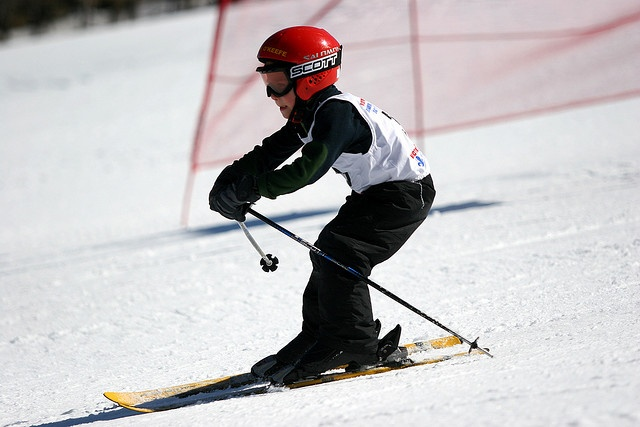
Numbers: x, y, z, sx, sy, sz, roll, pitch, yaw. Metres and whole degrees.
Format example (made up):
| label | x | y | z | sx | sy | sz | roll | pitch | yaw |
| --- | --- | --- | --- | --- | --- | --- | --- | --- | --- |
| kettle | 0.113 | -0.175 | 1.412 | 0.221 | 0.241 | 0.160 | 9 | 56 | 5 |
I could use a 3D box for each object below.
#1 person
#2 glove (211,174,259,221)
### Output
| label | x | y | z | sx | sy | sz | roll | pitch | yaw |
| --- | --- | --- | --- | --- | --- | --- | --- | --- | --- |
| person | 0.081 | -0.077 | 5.570 | 1.730 | 3.007 | 0.655 | -2 | 9 | 8 |
| glove | -0.699 | -0.123 | 5.510 | 0.426 | 0.389 | 0.223 | 4 | 10 | 39 |
